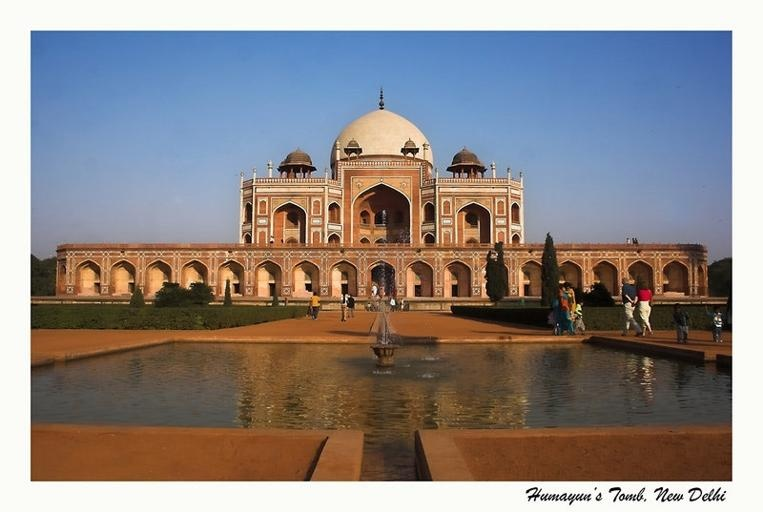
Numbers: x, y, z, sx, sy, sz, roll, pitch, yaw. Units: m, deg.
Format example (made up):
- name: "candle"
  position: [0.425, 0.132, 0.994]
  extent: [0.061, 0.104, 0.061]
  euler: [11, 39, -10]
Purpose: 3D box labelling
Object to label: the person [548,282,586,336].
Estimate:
- name: "person"
  position: [3.524, 1.002, 16.437]
  extent: [0.554, 1.012, 1.133]
  euler: [0, 0, 23]
